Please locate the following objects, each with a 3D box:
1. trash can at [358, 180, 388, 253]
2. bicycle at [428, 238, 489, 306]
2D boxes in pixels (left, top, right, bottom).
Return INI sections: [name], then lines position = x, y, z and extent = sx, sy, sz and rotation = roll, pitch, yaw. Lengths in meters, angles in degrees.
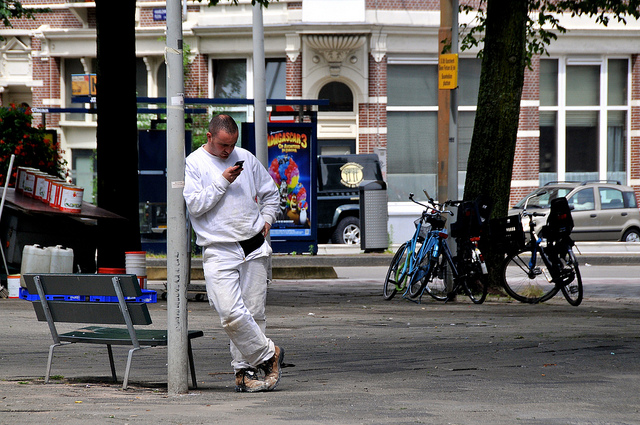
[trash can]
position = 1.475, 0.143, 37.727
extent = 0.752, 1.971, 0.470
rotation = -2, 15, -3
[bicycle]
position = 3.177, 1.292, 31.177
extent = 1.439, 1.446, 0.625
rotation = 6, 16, 24
